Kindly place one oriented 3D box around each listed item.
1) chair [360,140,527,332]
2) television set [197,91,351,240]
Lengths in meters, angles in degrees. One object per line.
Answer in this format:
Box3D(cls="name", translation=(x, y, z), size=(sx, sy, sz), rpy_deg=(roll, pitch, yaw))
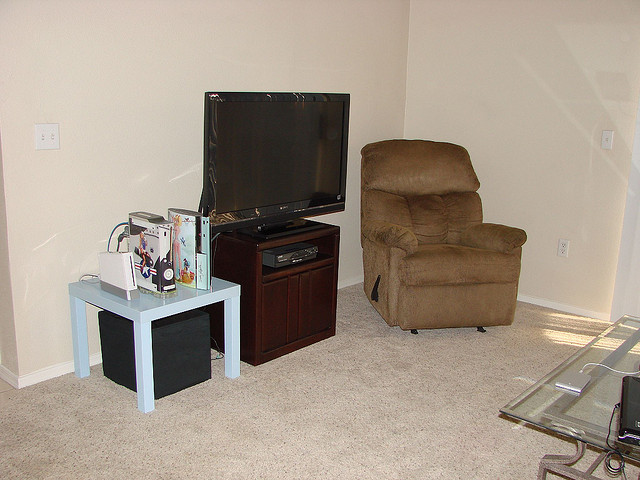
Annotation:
Box3D(cls="chair", translation=(0.825, -0.055, 3.796), size=(1.073, 1.224, 0.889), rpy_deg=(-2, 16, -10))
Box3D(cls="television set", translation=(-0.266, -0.464, 3.249), size=(1.088, 0.826, 0.313), rpy_deg=(-13, 22, -42))
